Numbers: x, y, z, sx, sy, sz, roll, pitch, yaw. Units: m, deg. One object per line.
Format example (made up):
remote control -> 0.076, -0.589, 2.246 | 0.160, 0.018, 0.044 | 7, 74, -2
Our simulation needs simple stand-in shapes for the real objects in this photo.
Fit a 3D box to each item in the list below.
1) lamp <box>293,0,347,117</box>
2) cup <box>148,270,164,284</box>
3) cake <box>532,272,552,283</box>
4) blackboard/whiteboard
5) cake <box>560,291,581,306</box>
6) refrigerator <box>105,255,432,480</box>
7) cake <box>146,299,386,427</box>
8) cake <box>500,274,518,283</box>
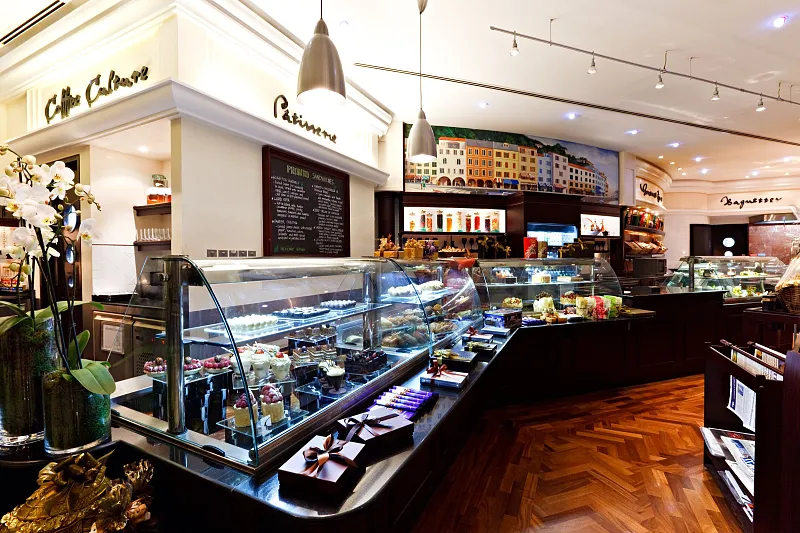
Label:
lamp -> -0.650, -1.715, 4.189 | 0.371, 0.721, 0.263 | -3, 1, -5
cup -> -1.656, 0.069, 3.552 | 0.095, 0.086, 0.050 | 2, 4, 14
cake -> 1.592, 0.126, 5.904 | 0.138, 0.083, 0.140 | -2, -2, 42
blackboard/whiteboard -> -1.105, -0.739, 6.263 | 0.112, 1.082, 1.381 | -2, 2, 33
cake -> 1.930, 0.353, 5.928 | 0.170, 0.098, 0.165 | -4, 1, -4
refrigerator -> -0.882, 0.577, 3.747 | 1.336, 1.105, 2.503 | 3, 3, 33
cake -> -1.014, 0.513, 3.731 | 0.844, 0.758, 1.630 | 1, 1, 34
cake -> 1.217, 0.141, 5.807 | 0.157, 0.080, 0.091 | 2, -3, -8
